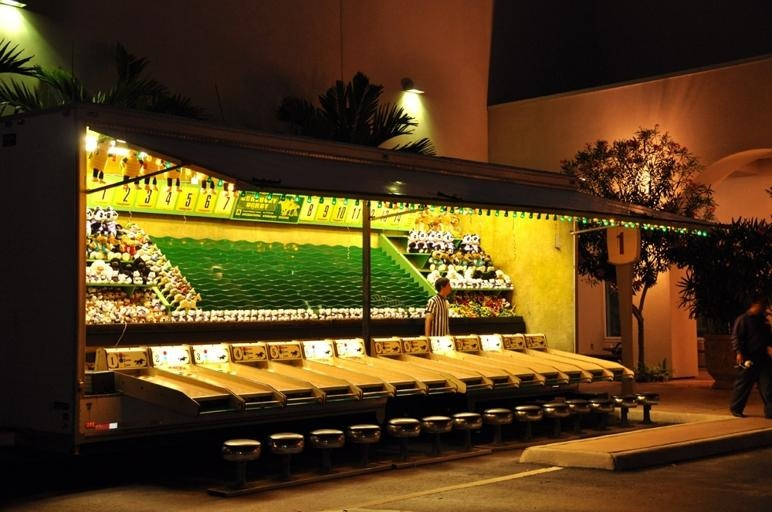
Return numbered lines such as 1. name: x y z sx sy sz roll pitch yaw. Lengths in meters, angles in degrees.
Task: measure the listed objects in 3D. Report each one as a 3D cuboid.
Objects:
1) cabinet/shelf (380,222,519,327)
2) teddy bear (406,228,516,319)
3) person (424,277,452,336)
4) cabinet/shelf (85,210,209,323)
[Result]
1. cabinet/shelf: 1.409 -0.199 15.276 2.861 1.643 1.981 20 -11 -3
2. teddy bear: 1.984 0.304 14.373 2.247 1.386 1.628 3 2 44
3. person: 0.903 0.871 11.270 0.410 0.999 0.600 -1 0 4
4. cabinet/shelf: -4.348 0.079 11.323 1.722 2.008 1.751 -1 0 -27
